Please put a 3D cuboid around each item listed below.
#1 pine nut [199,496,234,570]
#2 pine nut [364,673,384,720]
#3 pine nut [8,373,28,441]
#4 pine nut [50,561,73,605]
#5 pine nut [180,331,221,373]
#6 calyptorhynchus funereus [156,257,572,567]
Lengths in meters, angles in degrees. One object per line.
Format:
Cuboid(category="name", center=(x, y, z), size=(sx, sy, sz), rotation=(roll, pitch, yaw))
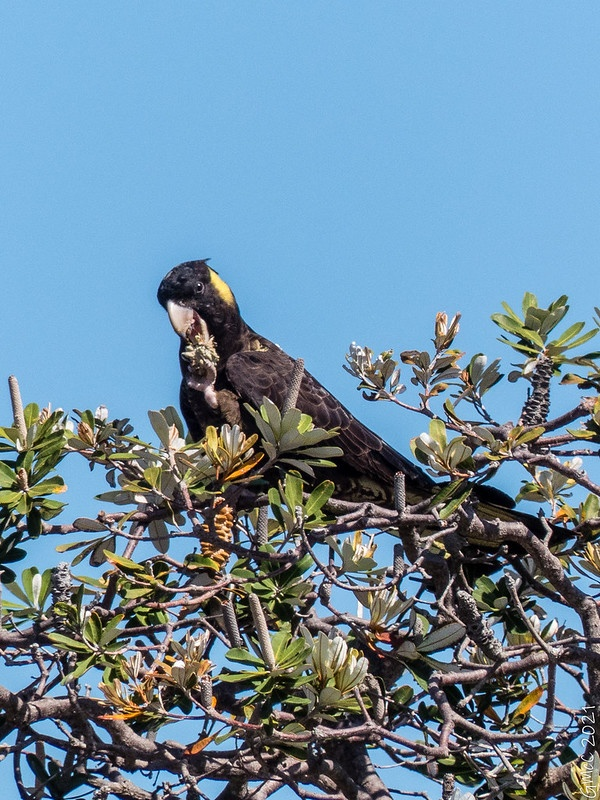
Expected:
Cuboid(category="pine nut", center=(-0.333, 0.514, 6.514), size=(0.124, 0.304, 0.132), rotation=(-2, -49, -2))
Cuboid(category="pine nut", center=(0.266, 1.007, 6.094), size=(0.089, 0.058, 0.227), rotation=(-2, 6, 3))
Cuboid(category="pine nut", center=(-0.862, 0.041, 5.338), size=(0.040, 0.215, 0.036), rotation=(-5, 25, 3))
Cuboid(category="pine nut", center=(-0.807, 0.591, 5.951), size=(0.072, 0.170, 0.226), rotation=(-2, -25, -7))
Cuboid(category="pine nut", center=(-0.448, -0.193, 7.735), size=(0.171, 0.179, 0.179), rotation=(0, 18, 5))
Cuboid(category="calyptorhynchus funereus", center=(0.124, -0.006, 8.257), size=(1.932, 1.099, 0.645), rotation=(8, -2, -32))
